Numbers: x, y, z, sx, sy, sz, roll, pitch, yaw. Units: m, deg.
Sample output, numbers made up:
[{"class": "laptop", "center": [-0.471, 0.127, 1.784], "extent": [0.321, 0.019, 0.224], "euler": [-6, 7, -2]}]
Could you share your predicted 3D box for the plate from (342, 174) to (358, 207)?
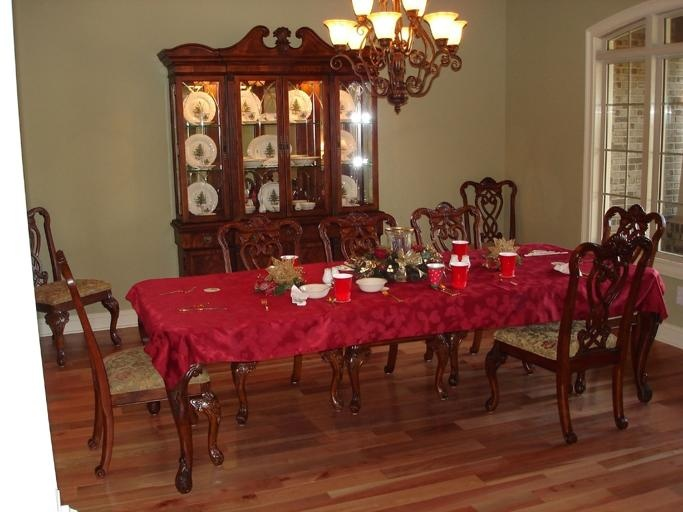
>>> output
[{"class": "plate", "center": [0.082, -0.628, 4.881], "extent": [0.234, 0.248, 0.058], "euler": [-16, 13, -32]}]

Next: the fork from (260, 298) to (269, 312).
[{"class": "fork", "center": [-0.413, 0.264, 2.726], "extent": [0.029, 0.036, 0.096], "euler": [-2, 17, -14]}]

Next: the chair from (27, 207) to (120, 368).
[{"class": "chair", "center": [-2.328, 0.182, 4.365], "extent": [0.795, 1.241, 0.803], "euler": [3, 10, 0]}]

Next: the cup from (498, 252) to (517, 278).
[{"class": "cup", "center": [1.018, 0.054, 3.087], "extent": [0.143, 0.158, 0.136], "euler": [-2, 3, 0]}]

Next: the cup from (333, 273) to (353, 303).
[{"class": "cup", "center": [0.022, 0.170, 2.783], "extent": [0.117, 0.138, 0.141], "euler": [0, 4, 1]}]

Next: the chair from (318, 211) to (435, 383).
[{"class": "chair", "center": [0.067, 0.306, 3.827], "extent": [0.771, 1.140, 0.810], "euler": [8, 27, 41]}]

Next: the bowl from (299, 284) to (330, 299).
[{"class": "bowl", "center": [-0.145, 0.188, 2.804], "extent": [0.102, 0.042, 0.095], "euler": [1, 6, 0]}]

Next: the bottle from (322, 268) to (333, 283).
[{"class": "bottle", "center": [-0.078, 0.119, 3.020], "extent": [0.072, 0.102, 0.075], "euler": [3, 6, 0]}]

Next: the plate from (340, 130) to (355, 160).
[{"class": "plate", "center": [0.064, -1.048, 4.826], "extent": [0.227, 0.235, 0.061], "euler": [-8, 13, -28]}]

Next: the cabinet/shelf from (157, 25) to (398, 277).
[{"class": "cabinet/shelf", "center": [-0.634, -0.935, 4.369], "extent": [2.108, 2.643, 0.615], "euler": [-5, 9, -26]}]

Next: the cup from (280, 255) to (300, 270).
[{"class": "cup", "center": [-0.304, 0.037, 3.037], "extent": [0.093, 0.081, 0.106], "euler": [0, 10, -7]}]

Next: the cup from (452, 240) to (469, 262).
[{"class": "cup", "center": [0.772, -0.033, 3.313], "extent": [0.133, 0.141, 0.137], "euler": [0, 3, 0]}]

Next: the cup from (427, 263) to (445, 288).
[{"class": "cup", "center": [0.548, 0.115, 2.924], "extent": [0.125, 0.144, 0.125], "euler": [0, 3, 0]}]

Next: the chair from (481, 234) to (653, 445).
[{"class": "chair", "center": [1.330, 0.423, 3.059], "extent": [0.706, 1.146, 0.784], "euler": [-4, 7, -14]}]

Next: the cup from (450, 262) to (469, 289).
[{"class": "cup", "center": [0.677, 0.122, 2.964], "extent": [0.123, 0.148, 0.145], "euler": [0, 3, 1]}]
